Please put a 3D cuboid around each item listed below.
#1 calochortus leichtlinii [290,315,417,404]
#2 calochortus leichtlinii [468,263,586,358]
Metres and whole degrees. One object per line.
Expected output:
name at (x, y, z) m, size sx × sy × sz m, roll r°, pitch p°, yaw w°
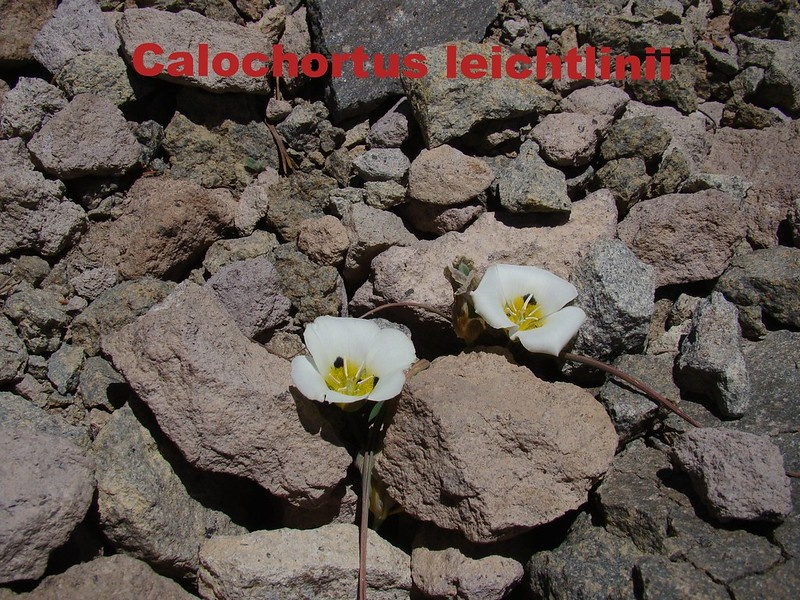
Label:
calochortus leichtlinii at (-0.279, 0.412, 3.999) m, size 0.564 × 0.276 × 0.679 m, roll 14°, pitch 32°, yaw 25°
calochortus leichtlinii at (0.684, 0.048, 4.188) m, size 0.512 × 0.208 × 0.566 m, roll 8°, pitch 52°, yaw -14°
